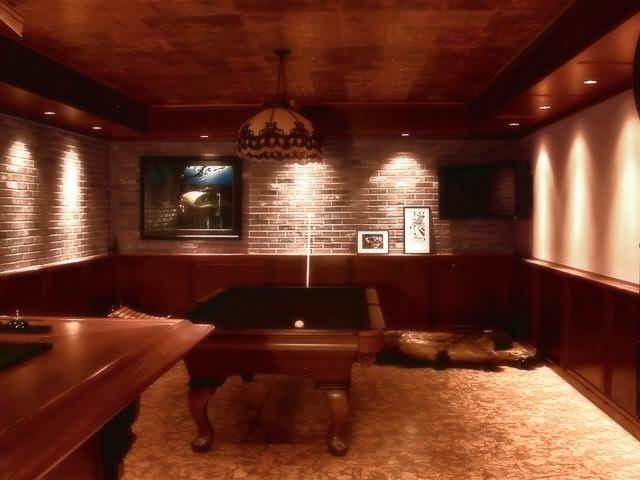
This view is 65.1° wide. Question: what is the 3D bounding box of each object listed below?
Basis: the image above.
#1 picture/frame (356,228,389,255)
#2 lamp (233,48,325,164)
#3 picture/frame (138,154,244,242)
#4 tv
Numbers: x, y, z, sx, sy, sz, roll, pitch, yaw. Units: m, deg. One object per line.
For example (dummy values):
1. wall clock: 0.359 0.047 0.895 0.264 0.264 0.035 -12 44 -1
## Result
1. picture/frame: 0.669 0.018 6.285 0.317 0.234 0.033 0 -8 3
2. lamp: -0.318 -1.057 4.031 0.829 0.980 0.832 1 5 -3
3. picture/frame: -1.580 -0.555 6.341 1.091 0.889 0.074 0 4 2
4. tv: 1.944 -0.610 6.093 1.137 0.731 0.618 0 1 9
